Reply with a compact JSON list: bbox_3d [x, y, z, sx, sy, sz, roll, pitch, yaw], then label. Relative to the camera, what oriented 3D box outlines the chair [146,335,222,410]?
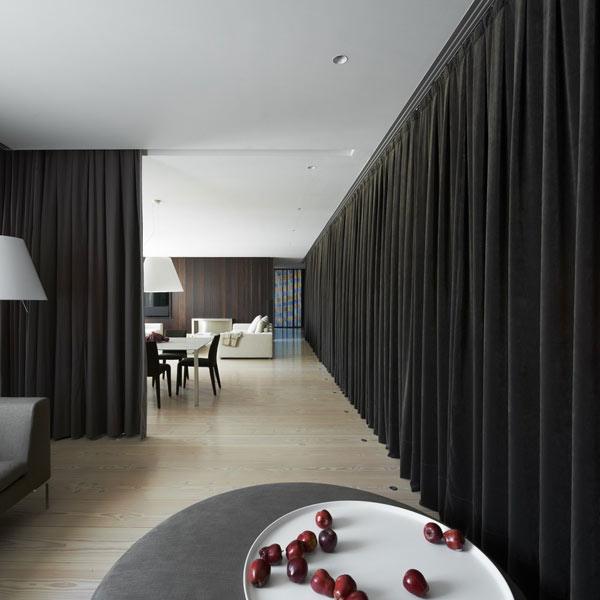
[{"bbox_3d":[-1.188,0.685,5.751,0.518,0.589,0.790,2,1,0],"label":"chair"}]
